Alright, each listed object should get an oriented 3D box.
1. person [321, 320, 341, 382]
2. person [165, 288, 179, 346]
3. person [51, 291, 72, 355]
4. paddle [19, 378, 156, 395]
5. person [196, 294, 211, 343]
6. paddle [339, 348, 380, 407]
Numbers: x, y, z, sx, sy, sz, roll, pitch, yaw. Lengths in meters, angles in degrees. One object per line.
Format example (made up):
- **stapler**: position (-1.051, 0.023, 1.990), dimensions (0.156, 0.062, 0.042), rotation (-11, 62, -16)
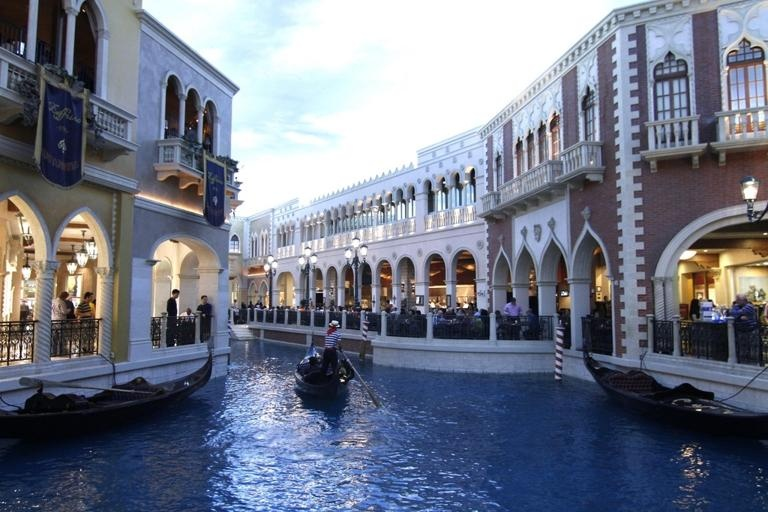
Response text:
- **person**: position (-1.606, 2.726, 18.584), dimensions (0.531, 1.685, 1.388), rotation (0, 5, -6)
- **person**: position (-6.603, 1.856, 19.576), dimensions (0.336, 1.512, 2.168), rotation (-2, 5, -18)
- **person**: position (-8.353, 1.734, 16.222), dimensions (0.400, 1.361, 1.740), rotation (-2, 5, -25)
- **paddle**: position (-7.322, 3.191, 15.342), dimensions (3.089, 0.365, 0.257), rotation (13, -5, -38)
- **person**: position (-5.825, 1.995, 20.234), dimensions (0.345, 1.444, 0.708), rotation (1, 5, 9)
- **paddle**: position (-0.786, 3.973, 20.424), dimensions (0.221, 1.899, 0.080), rotation (-21, -36, -25)
